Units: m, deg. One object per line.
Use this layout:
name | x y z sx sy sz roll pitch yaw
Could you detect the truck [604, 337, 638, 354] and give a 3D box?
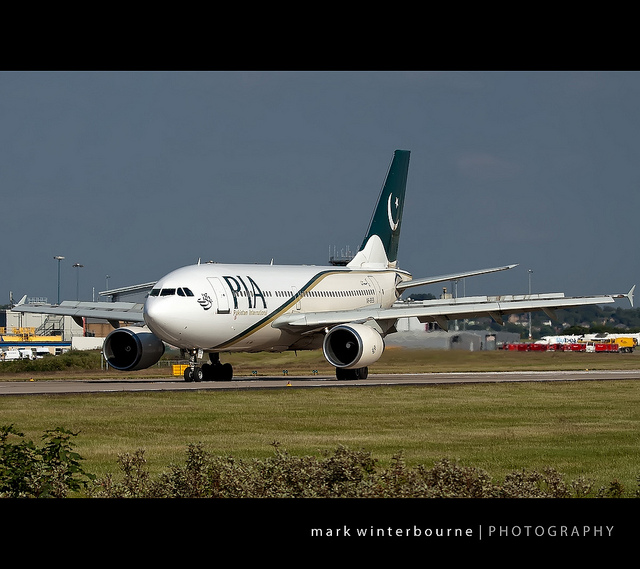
truck | 21.932 4.409 94.991 2.650 1.236 1.469 1 -1 0
